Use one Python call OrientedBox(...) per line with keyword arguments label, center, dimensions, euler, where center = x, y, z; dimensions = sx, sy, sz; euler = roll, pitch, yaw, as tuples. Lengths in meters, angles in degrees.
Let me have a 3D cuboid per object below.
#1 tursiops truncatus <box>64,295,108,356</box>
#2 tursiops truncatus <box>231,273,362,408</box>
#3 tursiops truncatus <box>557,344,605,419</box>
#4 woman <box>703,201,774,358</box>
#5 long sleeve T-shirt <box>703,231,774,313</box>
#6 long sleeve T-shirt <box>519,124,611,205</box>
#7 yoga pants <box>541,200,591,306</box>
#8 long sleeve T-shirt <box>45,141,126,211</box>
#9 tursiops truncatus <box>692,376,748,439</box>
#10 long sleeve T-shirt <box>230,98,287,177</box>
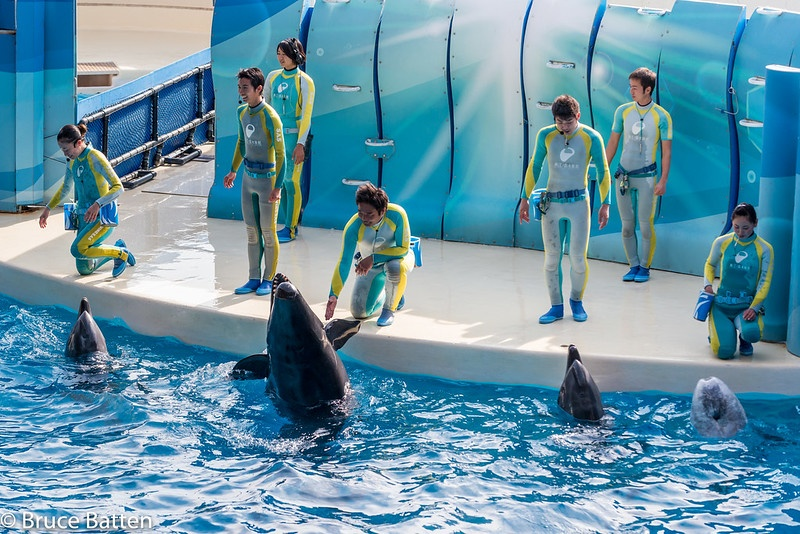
OrientedBox(label="tursiops truncatus", center=(-2.716, 0.571, 6.345), dimensions=(0.227, 0.651, 0.249), euler=(1, 6, -2))
OrientedBox(label="tursiops truncatus", center=(-0.793, 0.561, 5.553), dimensions=(0.780, 1.111, 0.396), euler=(-16, 47, -8))
OrientedBox(label="tursiops truncatus", center=(1.355, 0.913, 5.603), dimensions=(0.212, 0.637, 0.245), euler=(-3, 2, 15))
OrientedBox(label="woman", center=(2.777, 0.120, 6.118), dimensions=(0.509, 1.266, 0.388), euler=(6, 7, 26))
OrientedBox(label="long sleeve T-shirt", center=(2.818, 0.060, 6.123), dimensions=(0.535, 0.650, 0.375), euler=(12, 16, 24))
OrientedBox(label="long sleeve T-shirt", center=(1.496, -0.897, 6.603), dimensions=(0.839, 0.786, 0.313), euler=(7, 25, 25))
OrientedBox(label="yoga pants", center=(1.479, -0.144, 6.711), dimensions=(0.380, 0.319, 1.241), euler=(0, 52, 7))
OrientedBox(label="long sleeve T-shirt", center=(-3.263, -0.907, 7.662), dimensions=(0.924, 0.699, 0.451), euler=(4, 17, 24))
OrientedBox(label="tursiops truncatus", center=(2.344, 1.019, 5.421), dimensions=(0.392, 0.428, 0.158), euler=(-11, -11, 5))
OrientedBox(label="long sleeve T-shirt", center=(-1.374, -1.162, 7.087), dimensions=(0.529, 0.785, 0.233), euler=(5, 7, 22))
